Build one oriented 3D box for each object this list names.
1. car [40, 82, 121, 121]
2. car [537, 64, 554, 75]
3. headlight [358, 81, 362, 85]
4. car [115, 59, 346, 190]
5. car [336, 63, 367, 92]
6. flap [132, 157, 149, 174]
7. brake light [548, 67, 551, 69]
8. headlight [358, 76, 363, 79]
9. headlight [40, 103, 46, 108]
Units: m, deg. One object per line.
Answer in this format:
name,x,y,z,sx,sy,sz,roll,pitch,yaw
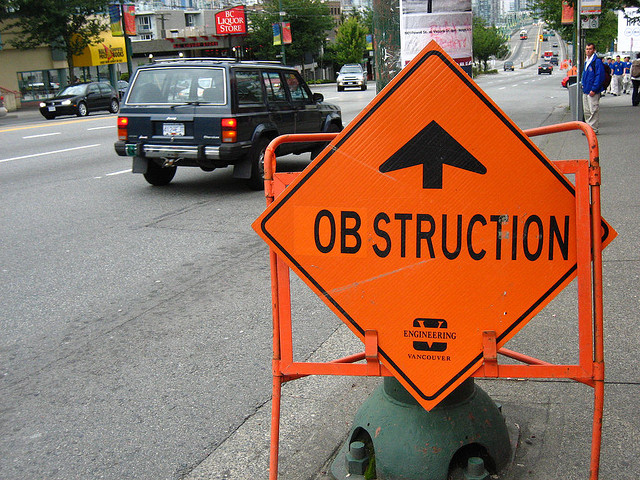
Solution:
car,-13.540,-7.905,33.469,1.763,1.818,3.934,5,16,33
car,30.321,-22.744,79.617,1.400,1.122,3.226,3,18,20
headlight,3.065,-12.180,46.046,0.245,0.247,0.058,0,2,-20
car,-1.710,-2.267,11.274,3.943,2.356,2.017,-13,16,-34
car,2.579,-13.005,47.371,1.516,1.368,2.785,0,9,8
flap,-3.358,-1.372,11.175,0.271,0.302,0.509,7,0,4
brake light,30.270,-22.673,78.195,0.327,0.081,0.331,-3,0,44
headlight,3.086,-12.604,46.155,0.236,0.234,0.057,-2,5,-9
headlight,-15.210,-7.412,32.550,0.265,0.266,0.066,1,-11,3
